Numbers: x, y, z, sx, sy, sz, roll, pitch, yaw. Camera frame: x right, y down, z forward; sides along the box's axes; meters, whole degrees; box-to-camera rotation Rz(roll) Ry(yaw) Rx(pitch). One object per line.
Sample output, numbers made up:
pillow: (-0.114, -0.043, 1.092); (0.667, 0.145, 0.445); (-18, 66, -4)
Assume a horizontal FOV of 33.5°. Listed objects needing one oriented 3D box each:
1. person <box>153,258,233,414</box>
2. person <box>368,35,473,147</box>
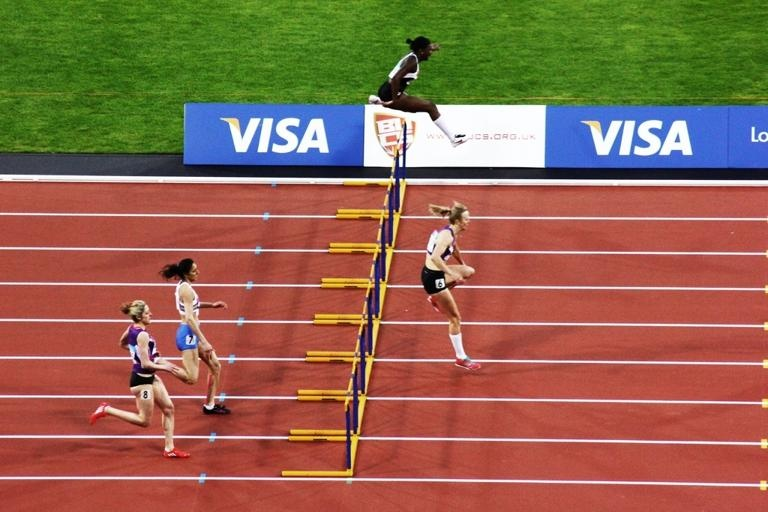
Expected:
person: (-3.056, 1.354, 21.532); (1.408, 2.451, 1.199); (2, 5, 19)
person: (0.571, -3.198, 24.416); (1.358, 2.089, 0.771); (-18, 28, -39)
